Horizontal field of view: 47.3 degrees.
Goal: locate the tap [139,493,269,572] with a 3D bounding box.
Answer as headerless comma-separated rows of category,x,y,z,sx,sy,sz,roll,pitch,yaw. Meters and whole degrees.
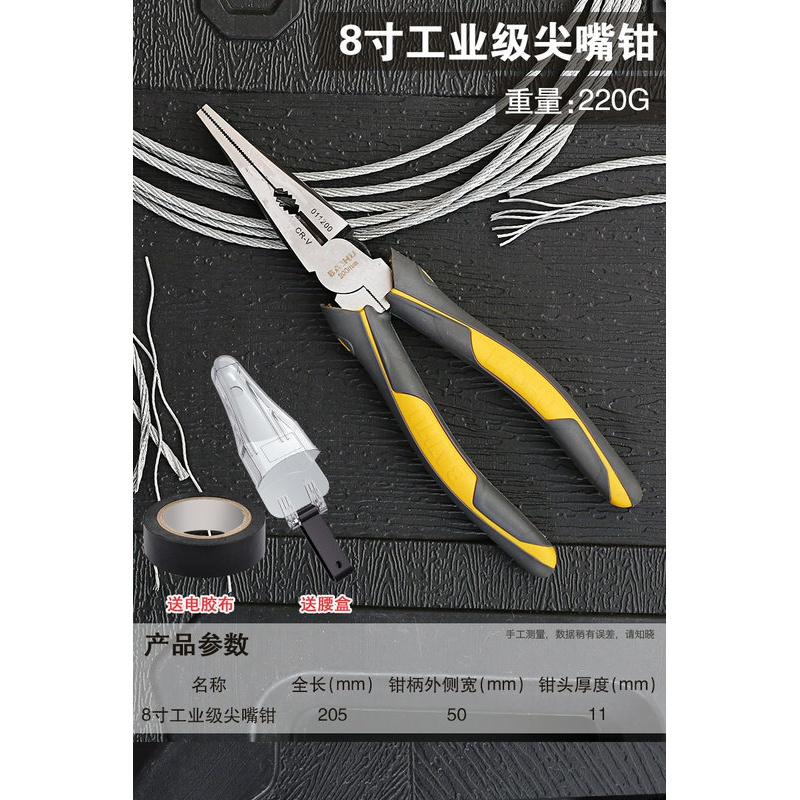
tap,-0.270,0.187,1.274,0.164,0.115,0.060,-9,-31,-15
